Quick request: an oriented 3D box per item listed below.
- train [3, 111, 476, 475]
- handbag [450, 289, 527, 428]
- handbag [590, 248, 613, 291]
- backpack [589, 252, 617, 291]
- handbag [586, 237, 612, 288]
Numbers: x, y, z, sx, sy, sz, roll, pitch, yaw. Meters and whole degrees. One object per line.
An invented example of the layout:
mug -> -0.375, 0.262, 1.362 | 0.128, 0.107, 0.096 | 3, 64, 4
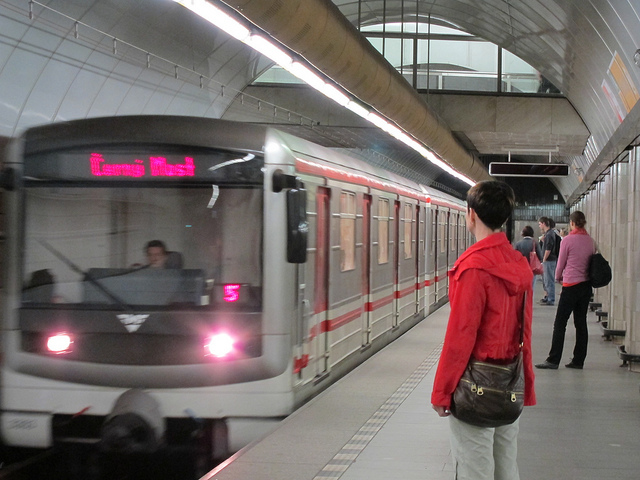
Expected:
train -> -0.507, 0.537, 7.224 | 2.607, 4.280, 6.414 | -4, -5, 35
handbag -> 0.931, 0.634, 2.628 | 0.516, 0.715, 0.185 | 1, -4, -27
handbag -> 4.566, 0.475, 7.959 | 0.271, 0.552, 0.267 | -3, -4, 29
backpack -> 4.619, 0.581, 7.998 | 0.365, 0.483, 0.261 | 18, 0, -34
handbag -> 4.587, 0.373, 8.028 | 0.322, 0.793, 0.377 | -5, -5, 44
